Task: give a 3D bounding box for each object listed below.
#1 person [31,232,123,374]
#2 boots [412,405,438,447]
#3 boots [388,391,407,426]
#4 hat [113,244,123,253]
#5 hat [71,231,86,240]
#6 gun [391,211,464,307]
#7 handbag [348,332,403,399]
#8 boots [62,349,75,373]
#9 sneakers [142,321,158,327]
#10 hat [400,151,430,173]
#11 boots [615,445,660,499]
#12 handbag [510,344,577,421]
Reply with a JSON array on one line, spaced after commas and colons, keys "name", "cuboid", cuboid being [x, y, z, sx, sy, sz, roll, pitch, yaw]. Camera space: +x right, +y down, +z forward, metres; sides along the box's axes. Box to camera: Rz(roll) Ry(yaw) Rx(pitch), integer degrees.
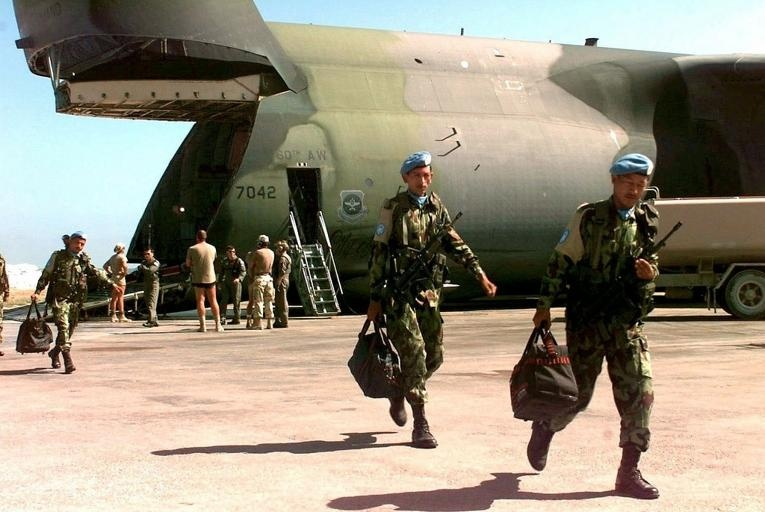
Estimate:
[{"name": "person", "cuboid": [-4.824, 0.714, 10.568, 1.054, 2.316, 1.596, -2, 1, -24]}, {"name": "boots", "cuboid": [0.406, 1.661, 6.674, 0.188, 0.394, 0.443, 1, -4, -18]}, {"name": "boots", "cuboid": [0.160, 1.588, 7.025, 0.153, 0.391, 0.276, 1, -6, -8]}, {"name": "hat", "cuboid": [-6.209, -0.171, 16.092, 0.144, 0.130, 0.175, 8, 38, 6]}, {"name": "hat", "cuboid": [-3.905, -0.250, 8.779, 0.160, 0.143, 0.179, 7, 14, -19]}, {"name": "gun", "cuboid": [0.387, 0.075, 6.875, 0.702, 0.871, 0.204, -2, 0, -19]}, {"name": "handbag", "cuboid": [-0.073, 0.976, 7.025, 0.426, 0.789, 0.785, -4, 20, -14]}, {"name": "boots", "cuboid": [-4.842, 1.603, 10.549, 0.181, 0.397, 0.433, -2, 1, -24]}, {"name": "sneakers", "cuboid": [-6.190, 1.785, 18.236, 0.215, 0.154, 0.357, -5, 13, -33]}, {"name": "hat", "cuboid": [0.278, -0.916, 6.799, 0.293, 0.118, 0.313, -18, 2, -38]}, {"name": "boots", "cuboid": [2.026, 1.735, 5.425, 0.176, 0.350, 0.384, 10, -8, -34]}, {"name": "handbag", "cuboid": [1.368, 0.898, 5.737, 0.465, 0.734, 0.496, 6, -23, -11]}]
